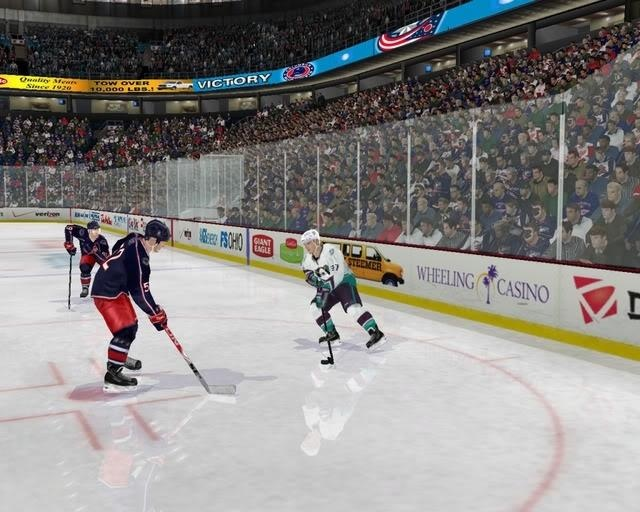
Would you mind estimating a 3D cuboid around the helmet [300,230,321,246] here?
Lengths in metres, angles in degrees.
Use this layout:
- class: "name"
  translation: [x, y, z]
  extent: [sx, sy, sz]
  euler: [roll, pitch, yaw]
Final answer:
- class: "helmet"
  translation: [-0.105, -0.197, 7.462]
  extent: [0.185, 0.179, 0.149]
  euler: [3, 3, 15]

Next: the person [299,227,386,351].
- class: "person"
  translation: [0.326, 0.457, 8.821]
  extent: [0.834, 1.723, 1.035]
  euler: [-6, -11, -40]

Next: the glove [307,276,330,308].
- class: "glove"
  translation: [0.032, 0.396, 7.543]
  extent: [0.201, 0.320, 0.137]
  euler: [35, 10, 20]

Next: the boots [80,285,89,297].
- class: "boots"
  translation: [-3.624, 0.554, 10.825]
  extent: [0.112, 0.182, 0.177]
  euler: [5, 8, -16]

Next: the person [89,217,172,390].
- class: "person"
  translation: [-1.666, 0.423, 6.203]
  extent: [0.674, 1.457, 0.402]
  euler: [-2, 8, -11]

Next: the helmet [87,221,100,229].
- class: "helmet"
  translation: [-3.338, -0.447, 10.317]
  extent: [0.145, 0.139, 0.118]
  euler: [-5, 7, 12]

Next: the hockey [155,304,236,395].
- class: "hockey"
  translation: [-1.024, 1.036, 6.290]
  extent: [0.336, 1.182, 0.085]
  euler: [-32, 5, 28]

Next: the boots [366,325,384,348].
- class: "boots"
  translation: [0.580, 0.867, 7.485]
  extent: [0.240, 0.172, 0.121]
  euler: [-34, 4, -17]

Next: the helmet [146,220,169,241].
- class: "helmet"
  translation: [-1.447, -0.218, 6.275]
  extent: [0.171, 0.212, 0.153]
  euler: [11, 7, 3]
